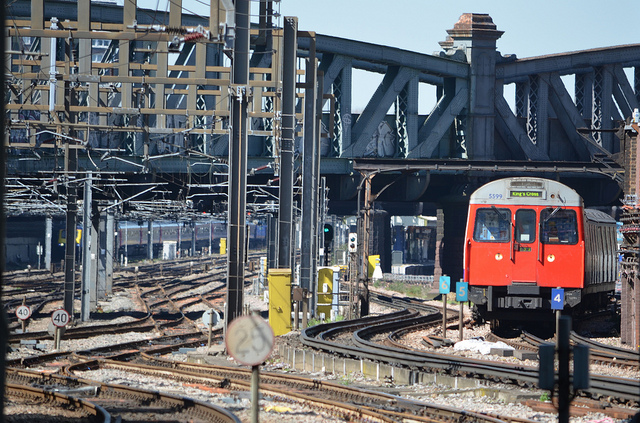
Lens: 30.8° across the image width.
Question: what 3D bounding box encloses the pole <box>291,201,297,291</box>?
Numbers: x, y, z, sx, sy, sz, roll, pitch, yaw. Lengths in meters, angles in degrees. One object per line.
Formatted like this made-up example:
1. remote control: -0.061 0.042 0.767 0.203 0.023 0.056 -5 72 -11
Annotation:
1. pole: -1.483 1.944 62.546 0.268 4.326 0.408 -5 -10 18

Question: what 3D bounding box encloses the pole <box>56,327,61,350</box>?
1. pole: -11.048 5.325 49.147 0.135 0.936 0.715 1 -3 -8

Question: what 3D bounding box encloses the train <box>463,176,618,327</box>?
1. train: 9.854 1.788 50.177 4.327 6.088 7.798 -1 -4 36

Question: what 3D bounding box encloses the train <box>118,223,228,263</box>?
1. train: -17.298 2.592 131.699 18.527 3.355 2.373 -3 -3 33
